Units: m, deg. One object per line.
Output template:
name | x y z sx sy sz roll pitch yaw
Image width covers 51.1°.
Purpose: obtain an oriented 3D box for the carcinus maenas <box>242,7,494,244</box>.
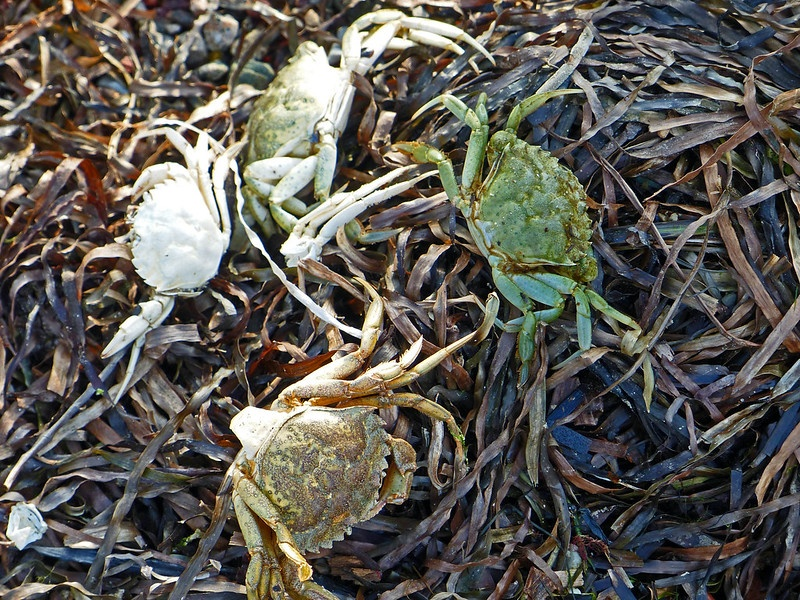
carcinus maenas | -0.171 -0.478 2.349 0.536 0.280 0.986 2 55 27
